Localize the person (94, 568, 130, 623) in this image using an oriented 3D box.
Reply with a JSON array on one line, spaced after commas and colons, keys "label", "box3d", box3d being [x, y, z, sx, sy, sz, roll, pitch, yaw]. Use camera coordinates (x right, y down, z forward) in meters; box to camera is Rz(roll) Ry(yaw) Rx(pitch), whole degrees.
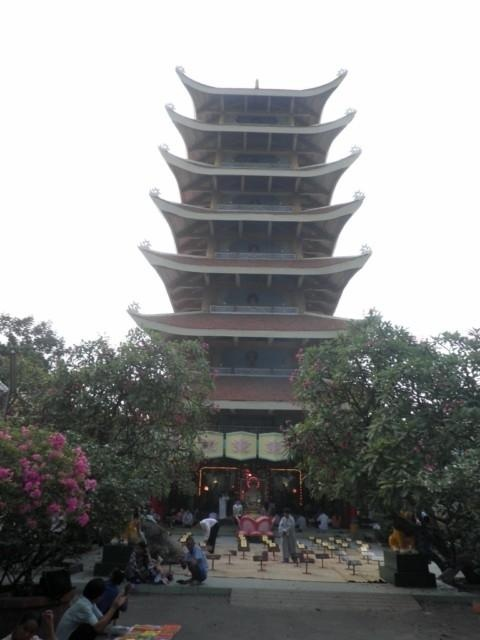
[{"label": "person", "box3d": [-1.777, 3.827, 7.607, 0.435, 0.708, 0.318, 21, -3, -36]}]
